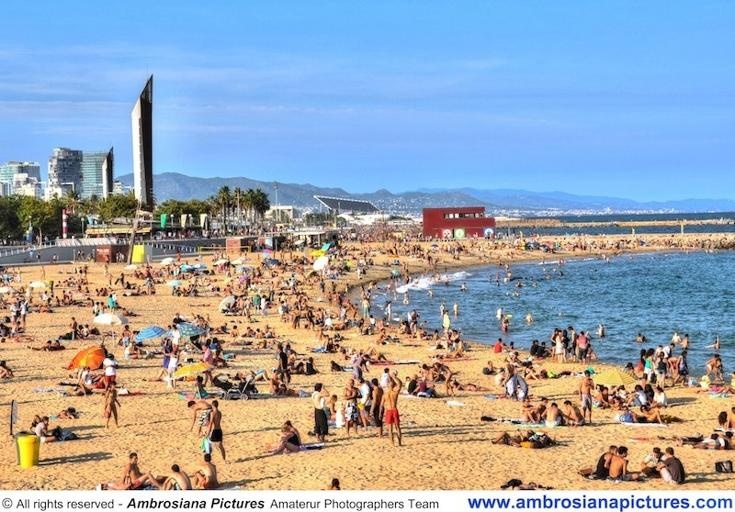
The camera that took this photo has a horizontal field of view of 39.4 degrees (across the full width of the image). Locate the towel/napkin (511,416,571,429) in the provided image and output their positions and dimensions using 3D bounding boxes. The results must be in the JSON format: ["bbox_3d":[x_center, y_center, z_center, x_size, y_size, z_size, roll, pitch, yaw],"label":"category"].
[{"bbox_3d":[7.162,6.924,42.469,2.368,0.398,0.714,0,4,4],"label":"towel/napkin"}]

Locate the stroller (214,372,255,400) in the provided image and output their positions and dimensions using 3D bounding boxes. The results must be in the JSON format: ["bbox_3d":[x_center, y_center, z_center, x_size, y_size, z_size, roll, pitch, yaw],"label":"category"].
[{"bbox_3d":[-5.835,5.858,45.843,1.452,0.795,1.018,2,-2,4],"label":"stroller"}]

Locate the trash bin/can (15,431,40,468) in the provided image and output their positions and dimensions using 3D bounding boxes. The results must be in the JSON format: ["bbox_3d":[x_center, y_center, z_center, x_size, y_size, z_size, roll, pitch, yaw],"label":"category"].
[{"bbox_3d":[-12.891,7.480,39.423,1.170,1.360,1.107,0,-7,-7],"label":"trash bin/can"}]

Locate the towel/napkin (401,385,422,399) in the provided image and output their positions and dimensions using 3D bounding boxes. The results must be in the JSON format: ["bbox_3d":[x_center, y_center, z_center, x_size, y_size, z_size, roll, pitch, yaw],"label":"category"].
[{"bbox_3d":[1.929,6.166,46.595,0.798,0.356,1.163,-1,4,-3],"label":"towel/napkin"}]
